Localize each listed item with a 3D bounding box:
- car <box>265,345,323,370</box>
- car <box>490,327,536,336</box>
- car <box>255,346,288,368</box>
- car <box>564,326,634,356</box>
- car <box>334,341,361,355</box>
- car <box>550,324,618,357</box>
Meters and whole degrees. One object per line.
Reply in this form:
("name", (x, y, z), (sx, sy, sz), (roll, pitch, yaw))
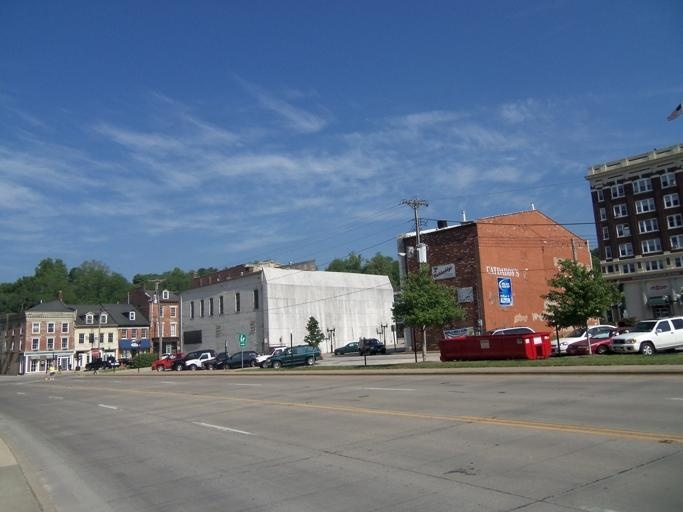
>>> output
("car", (-3.998, 8.274, 49.490), (4.419, 1.646, 1.766), (-2, -9, -6))
("car", (10.013, 4.387, 34.722), (2.145, 0.797, 1.052), (-1, -5, 18))
("car", (-5.444, 8.807, 51.889), (4.065, 1.432, 2.193), (3, -11, -25))
("car", (14.353, 4.629, 32.561), (3.257, 0.781, 1.401), (2, -8, -26))
("car", (0.578, 10.645, 68.782), (2.654, 1.319, 3.803), (-3, -8, -4))
("car", (13.590, 4.714, 33.501), (4.561, 1.115, 1.860), (-3, -7, 2))
